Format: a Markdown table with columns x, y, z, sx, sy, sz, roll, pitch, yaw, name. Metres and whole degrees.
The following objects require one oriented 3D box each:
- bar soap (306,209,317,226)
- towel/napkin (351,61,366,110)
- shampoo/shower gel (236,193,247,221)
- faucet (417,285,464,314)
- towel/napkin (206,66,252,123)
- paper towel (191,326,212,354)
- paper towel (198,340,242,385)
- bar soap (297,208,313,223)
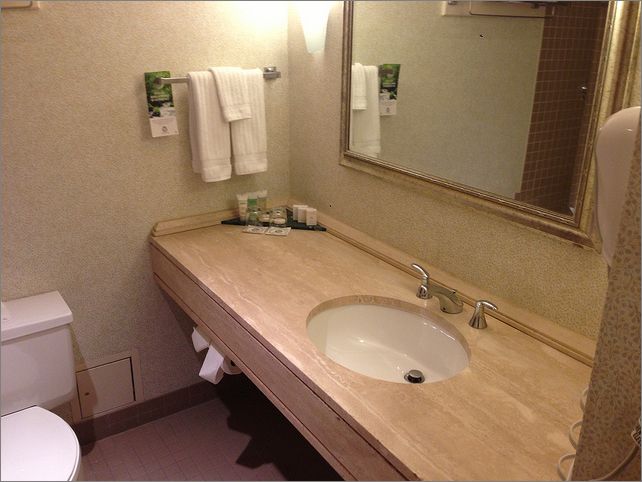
| x | y | z | sx | sy | sz | roll | pitch | yaw | name |
| --- | --- | --- | --- | --- | --- | --- | --- | --- | --- |
| -0.048 | -0.111 | 2.117 | 0.052 | 0.068 | 0.059 | -3 | 26 | 0 | bar soap |
| 0.148 | -0.623 | 1.828 | 0.050 | 0.146 | 0.137 | -2 | 12 | -15 | towel/napkin |
| -0.371 | -0.161 | 2.163 | 0.057 | 0.123 | 0.093 | -7 | 27 | -8 | shampoo/shower gel |
| 0.391 | 0.173 | 1.530 | 0.170 | 0.081 | 0.060 | 17 | 36 | 31 | faucet |
| -0.396 | -0.625 | 1.981 | 0.178 | 0.223 | 0.068 | -17 | 17 | -32 | towel/napkin |
| -0.492 | 0.398 | 1.841 | 0.025 | 0.096 | 0.104 | -14 | 37 | -39 | paper towel |
| -0.395 | 0.478 | 1.823 | 0.124 | 0.149 | 0.160 | 10 | 24 | 33 | paper towel |
| -0.074 | -0.123 | 2.123 | 0.065 | 0.058 | 0.021 | 7 | 27 | 13 | bar soap |
